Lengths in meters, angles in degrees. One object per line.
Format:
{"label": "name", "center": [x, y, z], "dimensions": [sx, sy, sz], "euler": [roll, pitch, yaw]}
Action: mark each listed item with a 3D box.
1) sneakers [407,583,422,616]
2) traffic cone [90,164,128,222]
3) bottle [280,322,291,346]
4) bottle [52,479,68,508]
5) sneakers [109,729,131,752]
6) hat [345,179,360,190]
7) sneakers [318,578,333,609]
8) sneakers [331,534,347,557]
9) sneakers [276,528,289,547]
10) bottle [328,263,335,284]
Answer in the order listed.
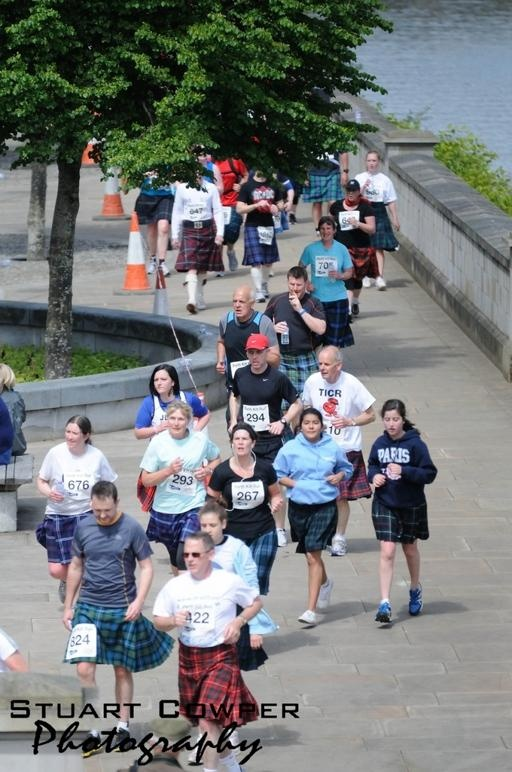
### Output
{"label": "sneakers", "center": [1.020, 1.335, 8.937], "dimensions": [0.074, 0.087, 0.208], "euler": [-2, 11, 9]}
{"label": "traffic cone", "center": [-2.769, -3.809, 27.461], "dimensions": [1.000, 0.982, 0.968], "euler": [0, 10, 2]}
{"label": "bottle", "center": [0.264, -0.450, 12.313], "dimensions": [0.078, 0.174, 0.134], "euler": [-2, 13, -5]}
{"label": "bottle", "center": [-1.182, 0.616, 8.528], "dimensions": [0.090, 0.115, 0.031], "euler": [2, 2, 40]}
{"label": "sneakers", "center": [-0.656, 1.683, 6.720], "dimensions": [0.110, 0.123, 0.306], "euler": [5, -6, -6]}
{"label": "hat", "center": [1.183, -2.440, 17.104], "dimensions": [0.141, 0.112, 0.205], "euler": [2, -4, 16]}
{"label": "sneakers", "center": [0.458, 1.313, 9.033], "dimensions": [0.073, 0.202, 0.089], "euler": [7, -4, 45]}
{"label": "sneakers", "center": [0.596, 1.121, 10.151], "dimensions": [0.102, 0.170, 0.118], "euler": [-1, 13, -1]}
{"label": "sneakers", "center": [0.200, 1.095, 10.466], "dimensions": [0.108, 0.113, 0.278], "euler": [1, -2, 1]}
{"label": "bottle", "center": [0.787, -1.176, 14.528], "dimensions": [0.079, 0.159, 0.139], "euler": [-1, 13, -3]}
